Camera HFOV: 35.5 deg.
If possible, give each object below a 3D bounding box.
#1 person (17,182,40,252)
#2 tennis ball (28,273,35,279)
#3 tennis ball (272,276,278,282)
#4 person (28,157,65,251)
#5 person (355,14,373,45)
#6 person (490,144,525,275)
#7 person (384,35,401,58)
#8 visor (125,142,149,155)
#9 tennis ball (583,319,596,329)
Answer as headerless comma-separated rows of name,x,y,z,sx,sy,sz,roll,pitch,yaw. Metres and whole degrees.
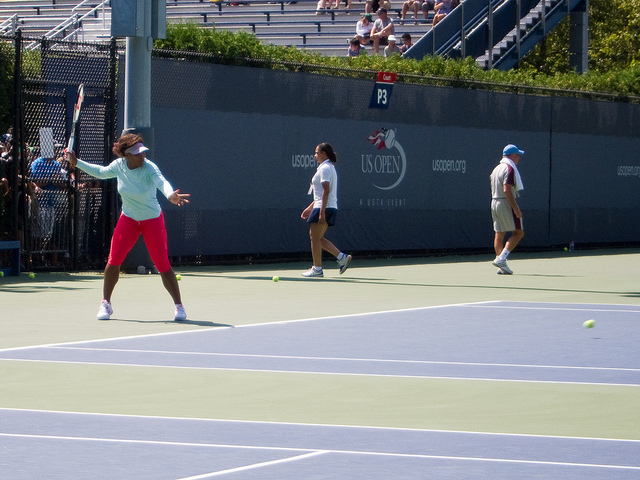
person,-4.529,-0.347,15.501,0.235,1.048,0.370,3,5,24
tennis ball,-4.338,0.555,15.078,0.069,0.060,0.076,1,5,0
tennis ball,-0.683,0.616,15.398,0.058,0.067,0.076,-4,39,25
person,-4.323,-0.590,15.723,0.508,1.839,0.488,8,16,-9
person,1.315,-6.166,29.336,0.500,0.872,0.454,0,14,-11
person,3.213,-0.499,17.189,0.550,2.199,1.000,2,4,11
person,2.073,-5.537,28.407,0.457,0.639,1.506,2,5,3
visor,-1.982,-0.977,10.822,0.182,0.070,0.127,-12,9,44
tennis ball,2.907,0.904,10.777,0.079,0.097,0.186,-3,5,19
